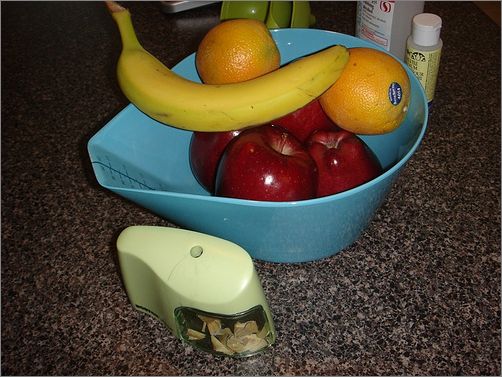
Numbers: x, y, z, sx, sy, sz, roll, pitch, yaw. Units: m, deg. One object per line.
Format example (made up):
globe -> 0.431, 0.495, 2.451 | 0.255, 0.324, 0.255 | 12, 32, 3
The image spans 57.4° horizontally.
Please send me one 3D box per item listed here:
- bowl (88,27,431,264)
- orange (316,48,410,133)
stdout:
bowl -> 0.011, -0.002, 0.723 | 0.434, 0.188, 0.386 | -6, 55, -1
orange -> 0.174, -0.142, 0.745 | 0.115, 0.100, 0.131 | 23, 53, 15
